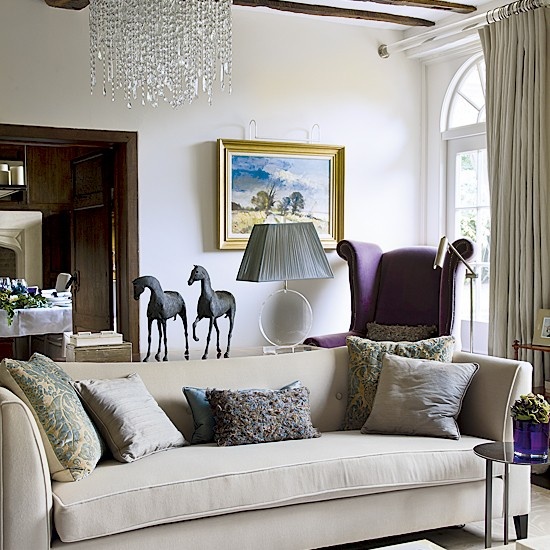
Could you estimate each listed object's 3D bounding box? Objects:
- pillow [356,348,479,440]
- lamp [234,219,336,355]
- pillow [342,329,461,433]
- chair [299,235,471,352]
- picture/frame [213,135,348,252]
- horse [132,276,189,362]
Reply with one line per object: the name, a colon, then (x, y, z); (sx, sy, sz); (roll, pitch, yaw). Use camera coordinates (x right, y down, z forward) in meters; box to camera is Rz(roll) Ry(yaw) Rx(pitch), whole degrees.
pillow: (0.671, 0.421, 2.625); (0.553, 0.515, 0.304); (0, -21, 23)
lamp: (0.055, 0.080, 3.503); (0.500, 0.745, 0.491); (-5, 7, -25)
pillow: (0.624, 0.565, 2.897); (0.536, 0.555, 0.209); (2, 14, 16)
chair: (0.907, 0.119, 4.287); (0.884, 1.014, 0.840); (-3, -13, 30)
picture/frame: (-0.007, -0.655, 4.521); (1.035, 0.873, 0.083); (0, 1, -29)
horse: (-0.652, 0.258, 3.231); (0.155, 0.474, 0.536); (-1, -3, 18)
